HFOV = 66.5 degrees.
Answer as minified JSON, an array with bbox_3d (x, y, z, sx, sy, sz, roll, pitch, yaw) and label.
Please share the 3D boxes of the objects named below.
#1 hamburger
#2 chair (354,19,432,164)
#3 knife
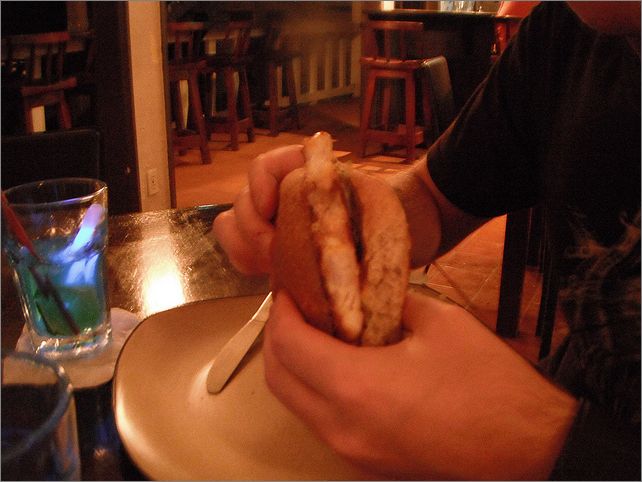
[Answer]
[{"bbox_3d":[0.016,-0.018,0.620,0.162,0.107,0.324,-3,40,-13],"label":"hamburger"},{"bbox_3d":[0.650,-1.355,4.364,0.586,1.126,0.668,-2,20,-6],"label":"chair"},{"bbox_3d":[-0.092,0.122,0.658,0.031,0.017,0.243,22,32,2],"label":"knife"}]
